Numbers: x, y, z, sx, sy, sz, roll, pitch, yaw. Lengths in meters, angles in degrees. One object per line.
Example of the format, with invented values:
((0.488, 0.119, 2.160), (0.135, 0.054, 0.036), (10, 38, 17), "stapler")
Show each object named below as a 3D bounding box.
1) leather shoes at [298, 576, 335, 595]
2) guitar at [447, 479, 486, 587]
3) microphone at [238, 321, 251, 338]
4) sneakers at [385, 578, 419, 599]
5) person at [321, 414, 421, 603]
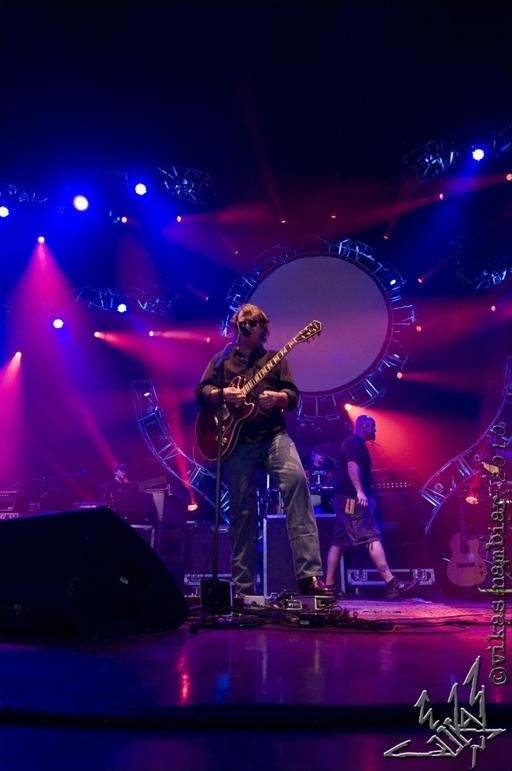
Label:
((0.295, 1.007, 3.232), (0.160, 0.100, 0.284), (0, -23, 5), "leather shoes")
((2.032, 1.496, 6.325), (0.244, 0.900, 0.300), (12, -25, -22), "guitar")
((-0.067, -0.333, 3.802), (0.067, 0.082, 0.076), (-4, -12, 5), "microphone")
((1.328, 1.846, 5.891), (0.244, 0.231, 0.644), (-4, -23, 14), "sneakers")
((1.067, 1.219, 6.173), (0.912, 1.727, 0.633), (8, -43, -2), "person")
